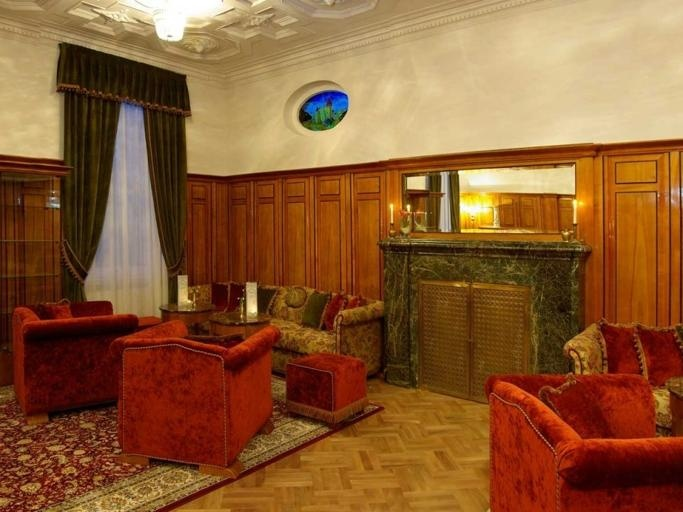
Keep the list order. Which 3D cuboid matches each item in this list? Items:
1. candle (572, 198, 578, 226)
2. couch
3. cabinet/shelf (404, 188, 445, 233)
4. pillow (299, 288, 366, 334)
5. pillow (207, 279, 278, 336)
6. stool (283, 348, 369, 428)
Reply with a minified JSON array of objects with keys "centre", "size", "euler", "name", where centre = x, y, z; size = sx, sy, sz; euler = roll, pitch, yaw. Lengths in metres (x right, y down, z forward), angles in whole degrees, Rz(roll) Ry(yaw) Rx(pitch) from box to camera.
[{"centre":[2.626,-0.517,5.540],"size":[0.071,0.268,0.078],"euler":[3,9,21],"name":"candle"},{"centre":[-0.890,1.056,7.244],"size":[3.055,1.149,1.049],"euler":[5,4,40],"name":"couch"},{"centre":[1.095,-0.580,6.376],"size":[0.535,0.565,0.193],"euler":[2,2,42],"name":"cabinet/shelf"},{"centre":[-0.140,0.774,6.796],"size":[0.230,0.523,0.790],"euler":[28,-16,-30],"name":"pillow"},{"centre":[-1.247,0.630,6.234],"size":[0.642,0.785,0.714],"euler":[2,2,41],"name":"pillow"},{"centre":[-0.161,1.437,5.544],"size":[0.900,0.583,0.962],"euler":[0,2,4],"name":"stool"}]
